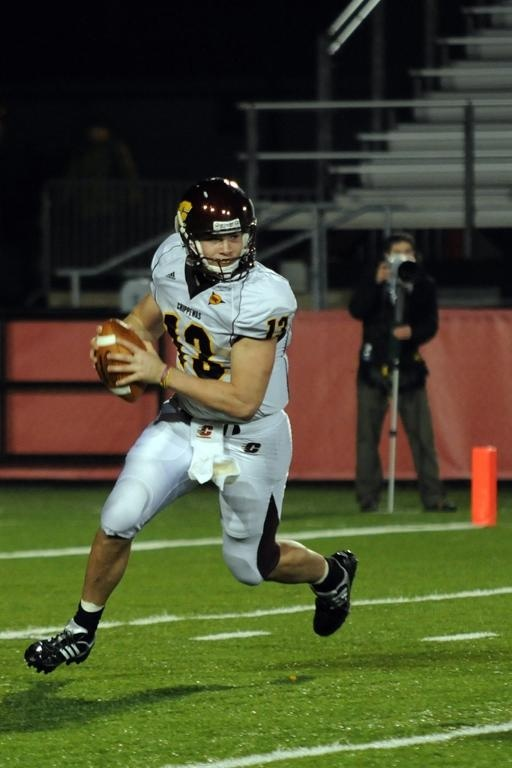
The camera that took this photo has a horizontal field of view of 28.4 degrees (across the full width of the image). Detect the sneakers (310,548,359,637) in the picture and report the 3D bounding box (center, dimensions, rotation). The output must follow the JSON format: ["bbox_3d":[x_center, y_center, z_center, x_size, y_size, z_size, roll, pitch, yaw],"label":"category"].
[{"bbox_3d":[0.230,0.698,3.431,0.160,0.302,0.119,13,2,-45],"label":"sneakers"}]

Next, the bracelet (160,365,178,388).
[{"bbox_3d":[-0.253,-0.018,2.891,0.052,0.056,0.029,7,10,35],"label":"bracelet"}]

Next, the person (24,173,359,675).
[{"bbox_3d":[-0.161,0.140,3.051,0.659,1.521,0.922,4,8,22],"label":"person"}]

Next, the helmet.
[{"bbox_3d":[-0.128,-0.500,3.025,0.229,0.244,0.229,0,7,-5],"label":"helmet"}]

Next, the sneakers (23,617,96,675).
[{"bbox_3d":[-0.550,0.743,2.857,0.094,0.116,0.237,28,9,29],"label":"sneakers"}]

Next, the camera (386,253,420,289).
[{"bbox_3d":[0.828,-0.647,5.812,0.150,0.131,0.212,-18,5,3],"label":"camera"}]

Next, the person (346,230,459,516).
[{"bbox_3d":[0.794,-0.048,5.849,0.338,1.640,0.779,-4,9,-33],"label":"person"}]
